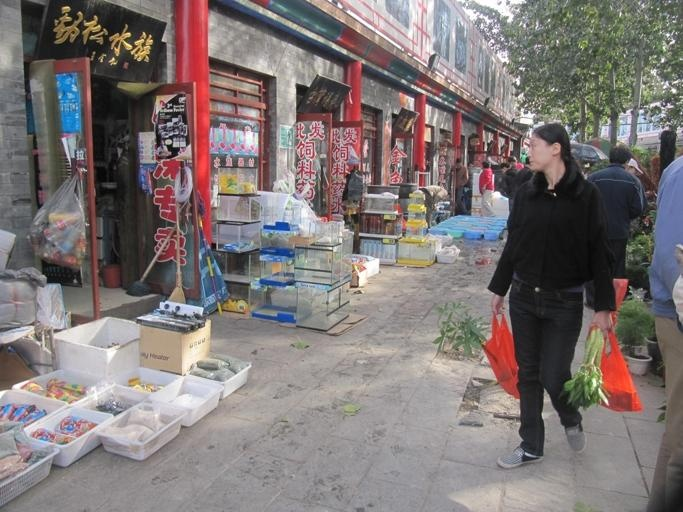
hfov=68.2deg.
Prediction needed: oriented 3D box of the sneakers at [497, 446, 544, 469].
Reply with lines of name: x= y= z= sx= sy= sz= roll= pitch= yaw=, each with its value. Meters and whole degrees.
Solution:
sneakers: x=1.279 y=1.481 z=3.687 sx=0.361 sy=0.145 sz=0.133 roll=-3 pitch=4 yaw=-7

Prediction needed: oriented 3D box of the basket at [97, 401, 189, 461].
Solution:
basket: x=-1.557 y=1.338 z=3.945 sx=0.445 sy=0.228 sz=0.541 roll=7 pitch=14 yaw=26

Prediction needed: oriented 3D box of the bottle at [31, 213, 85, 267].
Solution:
bottle: x=-2.891 y=-0.184 z=5.166 sx=0.414 sy=0.586 sz=0.225 roll=7 pitch=15 yaw=-7

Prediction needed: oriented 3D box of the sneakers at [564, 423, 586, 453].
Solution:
sneakers: x=1.781 y=1.370 z=3.833 sx=0.117 sy=0.249 sz=0.097 roll=-20 pitch=-24 yaw=30

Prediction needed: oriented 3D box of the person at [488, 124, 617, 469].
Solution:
person: x=1.508 y=0.303 z=3.636 sx=0.805 sy=2.447 sz=0.513 roll=2 pitch=12 yaw=9

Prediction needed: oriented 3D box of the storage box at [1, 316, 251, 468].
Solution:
storage box: x=-1.887 y=1.204 z=4.164 sx=1.108 sy=0.336 sz=1.083 roll=11 pitch=14 yaw=24

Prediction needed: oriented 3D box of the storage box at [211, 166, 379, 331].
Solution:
storage box: x=-0.586 y=-0.023 z=6.876 sx=2.022 sy=1.578 sz=1.252 roll=11 pitch=16 yaw=39

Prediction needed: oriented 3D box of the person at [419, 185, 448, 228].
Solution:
person: x=2.822 y=-1.478 z=15.168 sx=0.561 sy=1.136 sz=0.764 roll=-17 pitch=21 yaw=-31
